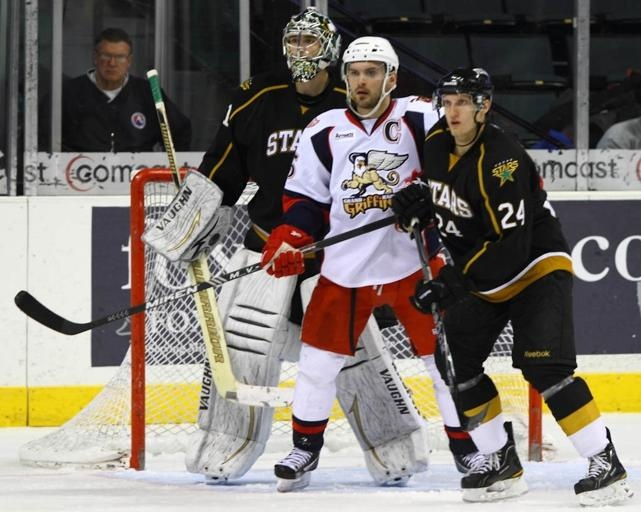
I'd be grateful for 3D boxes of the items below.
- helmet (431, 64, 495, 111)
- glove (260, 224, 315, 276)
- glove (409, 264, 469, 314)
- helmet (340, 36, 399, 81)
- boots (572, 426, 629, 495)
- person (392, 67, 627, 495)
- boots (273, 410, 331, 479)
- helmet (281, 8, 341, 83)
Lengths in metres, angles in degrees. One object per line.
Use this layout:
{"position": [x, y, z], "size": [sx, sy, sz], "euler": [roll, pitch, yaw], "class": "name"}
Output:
{"position": [0.533, -0.601, 3.556], "size": [0.212, 0.201, 0.242], "euler": [11, 20, 40], "class": "helmet"}
{"position": [-0.150, -0.025, 3.722], "size": [0.209, 0.182, 0.088], "euler": [8, 5, -43], "class": "glove"}
{"position": [0.422, 0.130, 3.551], "size": [0.097, 0.163, 0.264], "euler": [-31, -9, 29], "class": "glove"}
{"position": [0.170, -0.773, 3.798], "size": [0.215, 0.194, 0.229], "euler": [4, 3, 23], "class": "helmet"}
{"position": [1.005, 0.749, 3.388], "size": [0.210, 0.254, 0.102], "euler": [1, 5, 1], "class": "boots"}
{"position": [0.696, 0.104, 3.514], "size": [0.912, 1.576, 0.325], "euler": [2, 5, 14], "class": "person"}
{"position": [-0.007, 0.765, 3.759], "size": [0.128, 0.237, 0.369], "euler": [11, 3, 25], "class": "boots"}
{"position": [-0.046, -0.850, 3.801], "size": [0.251, 0.277, 0.307], "euler": [3, 9, 23], "class": "helmet"}
